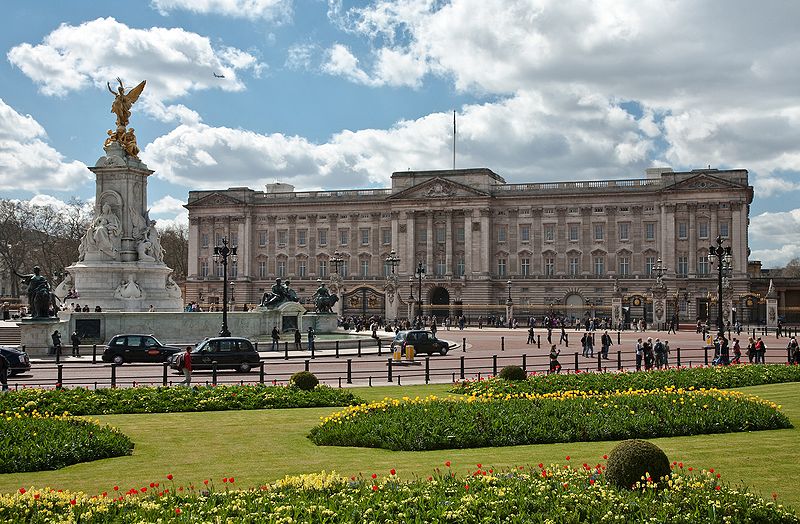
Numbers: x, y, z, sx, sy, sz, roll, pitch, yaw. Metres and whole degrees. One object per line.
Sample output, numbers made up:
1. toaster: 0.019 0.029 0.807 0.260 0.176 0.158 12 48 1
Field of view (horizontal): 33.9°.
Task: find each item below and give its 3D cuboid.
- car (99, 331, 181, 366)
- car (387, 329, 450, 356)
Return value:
1. car: -15.011 5.010 75.732 4.369 1.445 1.874 0 0 -9
2. car: 1.296 5.034 83.065 3.682 1.682 2.111 4 -7 -32
